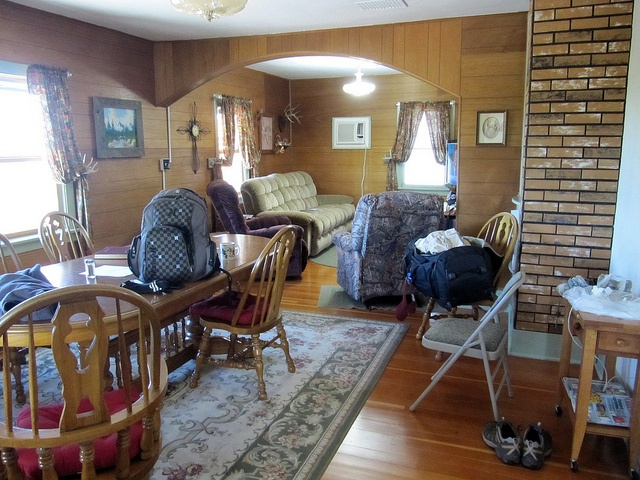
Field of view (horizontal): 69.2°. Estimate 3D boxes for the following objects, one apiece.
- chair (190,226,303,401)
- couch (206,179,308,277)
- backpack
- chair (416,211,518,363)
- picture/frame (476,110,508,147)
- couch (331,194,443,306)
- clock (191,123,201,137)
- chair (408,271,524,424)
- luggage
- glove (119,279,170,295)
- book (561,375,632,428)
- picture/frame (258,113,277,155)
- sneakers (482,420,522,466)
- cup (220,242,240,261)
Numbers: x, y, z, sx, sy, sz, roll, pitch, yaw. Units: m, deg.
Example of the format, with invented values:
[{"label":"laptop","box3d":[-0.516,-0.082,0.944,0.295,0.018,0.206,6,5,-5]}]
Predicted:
[{"label":"chair","box3d":[-0.532,0.481,3.358,0.808,1.091,0.748,5,7,35]},{"label":"couch","box3d":[-0.592,-0.228,5.508,1.174,1.065,1.031,5,-12,-32]},{"label":"backpack","box3d":[-0.870,-0.009,2.754,0.545,0.571,0.330,-8,14,-19]},{"label":"chair","box3d":[1.273,0.296,4.223,0.828,1.137,0.690,0,21,-6]},{"label":"picture/frame","box3d":[1.791,-1.181,4.831,0.385,0.432,0.048,2,5,16]},{"label":"couch","box3d":[0.687,0.037,4.863,0.995,1.077,0.822,-5,11,-22]},{"label":"clock","box3d":[-1.750,-1.545,6.497,0.029,0.188,0.201,2,15,23]},{"label":"chair","box3d":[0.969,0.668,3.109,0.750,0.862,0.618,-1,9,18]},{"label":"luggage","box3d":[1.093,0.300,3.830,0.609,0.425,0.748,-9,0,-6]},{"label":"glove","box3d":[-0.988,0.268,2.677,0.178,0.060,0.132,1,2,-1]},{"label":"book","box3d":[1.603,0.921,2.636,0.235,0.055,0.252,0,10,18]},{"label":"picture/frame","box3d":[-0.969,-1.970,8.549,0.059,0.801,0.828,-8,17,-26]},{"label":"sneakers","box3d":[1.027,1.135,2.626,0.118,0.117,0.265,-1,12,-2]},{"label":"cup","box3d":[-0.659,0.086,3.412,0.168,0.113,0.103,0,2,-33]}]
